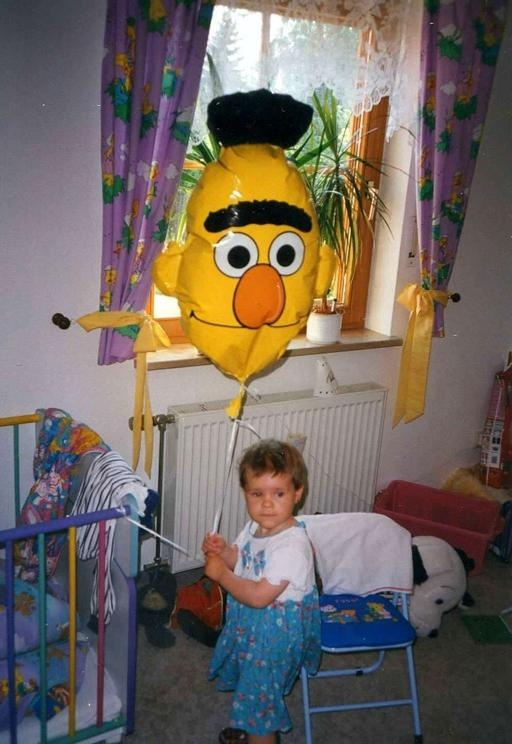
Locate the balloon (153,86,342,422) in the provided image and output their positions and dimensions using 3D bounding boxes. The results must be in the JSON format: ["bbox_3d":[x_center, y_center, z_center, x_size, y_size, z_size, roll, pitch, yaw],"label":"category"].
[{"bbox_3d":[-0.007,-0.278,1.326,0.334,0.645,0.167,4,13,-9],"label":"balloon"}]

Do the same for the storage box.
[{"bbox_3d":[0.698,0.619,2.503,0.363,0.152,0.207,30,-8,-1],"label":"storage box"}]

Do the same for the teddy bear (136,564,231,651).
[{"bbox_3d":[-0.226,0.695,1.893,0.316,0.314,0.208,2,9,9],"label":"teddy bear"}]
